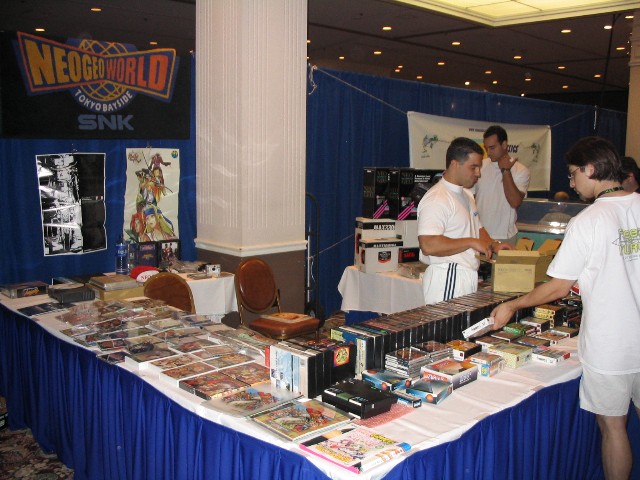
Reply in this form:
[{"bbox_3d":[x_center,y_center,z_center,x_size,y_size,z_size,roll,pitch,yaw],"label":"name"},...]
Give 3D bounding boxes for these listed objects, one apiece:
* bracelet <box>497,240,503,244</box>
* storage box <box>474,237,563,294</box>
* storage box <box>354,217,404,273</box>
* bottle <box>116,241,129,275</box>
[{"bbox_3d":[1.468,0.024,4.261,0.053,0.018,0.037,-1,3,-32],"label":"bracelet"},{"bbox_3d":[1.312,0.163,3.386,0.419,0.242,0.524,0,5,31],"label":"storage box"},{"bbox_3d":[0.516,0.041,4.697,0.477,0.619,0.463,-2,5,-29],"label":"storage box"},{"bbox_3d":[-1.673,0.158,4.375,0.109,0.232,0.217,-6,15,-20],"label":"bottle"}]
